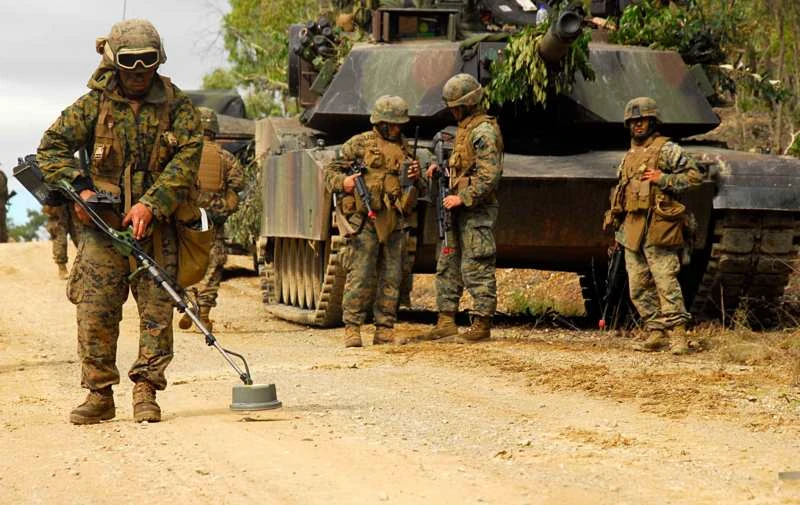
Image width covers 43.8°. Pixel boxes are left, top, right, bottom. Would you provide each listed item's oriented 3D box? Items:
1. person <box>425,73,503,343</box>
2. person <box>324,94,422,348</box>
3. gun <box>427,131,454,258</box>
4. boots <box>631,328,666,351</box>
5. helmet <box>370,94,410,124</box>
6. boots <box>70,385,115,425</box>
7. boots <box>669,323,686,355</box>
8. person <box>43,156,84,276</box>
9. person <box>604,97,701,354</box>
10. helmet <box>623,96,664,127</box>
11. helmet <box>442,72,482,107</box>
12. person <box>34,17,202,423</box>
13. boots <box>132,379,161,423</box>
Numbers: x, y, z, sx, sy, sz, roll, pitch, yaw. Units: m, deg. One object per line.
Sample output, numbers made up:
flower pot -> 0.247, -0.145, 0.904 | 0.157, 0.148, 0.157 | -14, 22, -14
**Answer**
person -> 0.684, -0.447, 10.572 | 0.863, 2.863, 0.515 | 1, 7, 20
person -> -0.262, -0.337, 10.793 | 0.985, 2.673, 0.469 | -2, 7, -4
gun -> 0.366, -0.679, 10.743 | 0.200, 1.469, 0.562 | 0, -10, -5
boots -> 2.611, 0.922, 10.328 | 0.428, 0.310, 0.151 | 1, -5, 8
helmet -> -0.126, -1.554, 10.755 | 0.333, 0.206, 0.333 | -3, 14, -20
boots -> -2.395, 1.192, 7.808 | 0.153, 0.277, 0.407 | 5, 4, 35
boots -> 2.790, 0.888, 9.985 | 0.111, 0.331, 0.152 | -6, -39, 21
person -> -3.818, -0.356, 11.325 | 0.304, 1.187, 0.394 | -13, 14, -12
person -> 2.604, -0.288, 10.150 | 0.910, 2.560, 0.462 | 4, 9, 39
helmet -> 2.517, -1.471, 10.270 | 0.302, 0.225, 0.321 | 0, 2, 21
helmet -> 0.646, -1.749, 10.608 | 0.307, 0.302, 0.380 | -31, 34, -28
person -> -2.133, -0.254, 7.838 | 1.200, 3.126, 0.708 | -3, 7, -13
boots -> -1.966, 1.165, 7.763 | 0.203, 0.282, 0.266 | -4, 7, -16
